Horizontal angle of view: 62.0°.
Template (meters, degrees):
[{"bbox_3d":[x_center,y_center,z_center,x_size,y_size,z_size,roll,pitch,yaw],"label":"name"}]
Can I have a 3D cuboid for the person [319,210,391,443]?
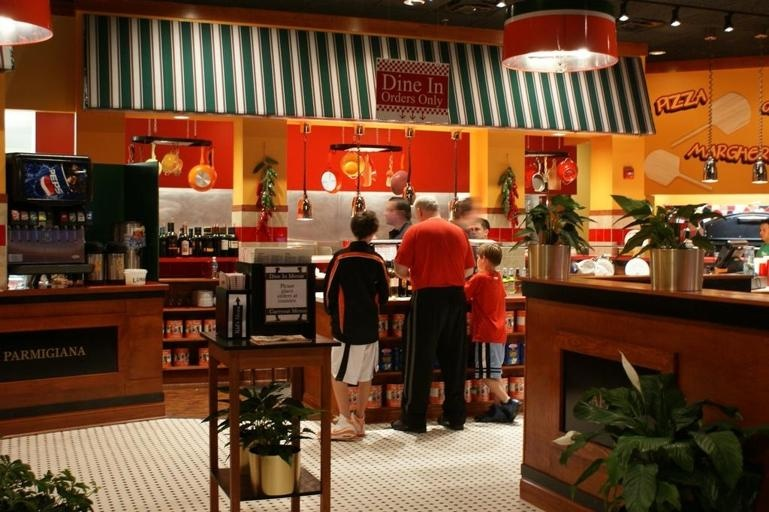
[{"bbox_3d":[-0.278,0.682,6.185,0.620,2.234,0.340,-1,1,-3],"label":"person"}]

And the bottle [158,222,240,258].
[{"bbox_3d":[-2.640,-0.203,9.042,1.050,0.420,0.337,-1,2,-19],"label":"bottle"}]

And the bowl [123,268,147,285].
[{"bbox_3d":[-2.716,0.222,6.935,0.183,0.113,0.183,-1,-2,0],"label":"bowl"}]

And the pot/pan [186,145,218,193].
[{"bbox_3d":[-2.670,-1.138,9.161,0.441,0.335,0.850,0,12,-20],"label":"pot/pan"}]

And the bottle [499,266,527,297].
[{"bbox_3d":[1.439,0.295,7.285,0.356,0.319,0.202,0,5,-23],"label":"bottle"}]

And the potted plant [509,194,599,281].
[{"bbox_3d":[1.283,-0.151,4.939,0.502,0.654,0.345,0,2,11],"label":"potted plant"}]

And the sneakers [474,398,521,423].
[{"bbox_3d":[1.250,1.676,6.915,0.577,0.236,0.195,-7,1,26],"label":"sneakers"}]

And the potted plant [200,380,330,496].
[{"bbox_3d":[-0.751,1.253,4.617,0.946,0.793,0.825,0,-3,7],"label":"potted plant"}]

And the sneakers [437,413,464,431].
[{"bbox_3d":[0.681,1.746,6.661,0.115,0.127,0.308,-1,4,-26],"label":"sneakers"}]

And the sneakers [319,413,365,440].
[{"bbox_3d":[-0.474,1.678,6.326,0.566,0.241,0.203,2,1,-12],"label":"sneakers"}]

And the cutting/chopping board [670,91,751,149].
[{"bbox_3d":[5.696,-2.325,11.089,1.536,0.701,0.072,-35,-2,6],"label":"cutting/chopping board"}]

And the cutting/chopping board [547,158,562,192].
[{"bbox_3d":[2.723,-1.278,10.324,0.343,0.605,0.163,0,4,20],"label":"cutting/chopping board"}]

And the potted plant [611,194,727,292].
[{"bbox_3d":[1.816,-0.067,4.195,0.753,0.513,0.633,6,-5,-40],"label":"potted plant"}]
